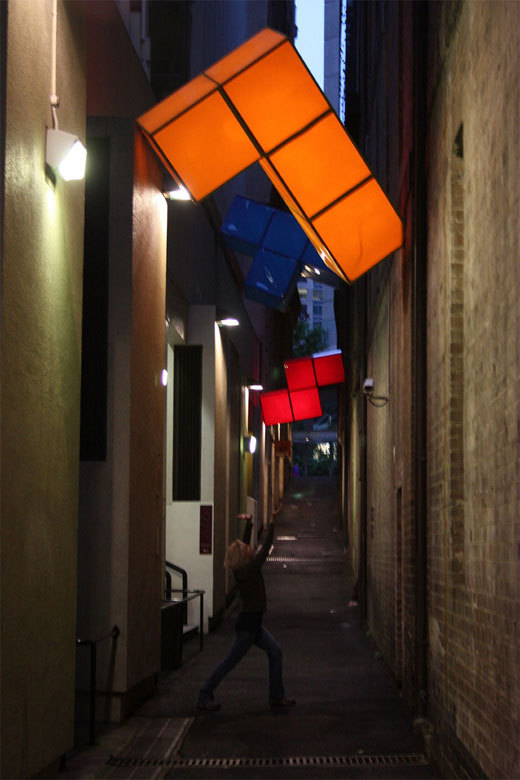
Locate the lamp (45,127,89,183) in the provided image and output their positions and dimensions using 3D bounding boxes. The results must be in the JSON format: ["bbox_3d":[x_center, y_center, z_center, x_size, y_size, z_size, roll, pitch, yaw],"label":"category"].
[{"bbox_3d":[-1.118,-1.470,4.612,0.126,0.368,0.339,1,5,4],"label":"lamp"}]

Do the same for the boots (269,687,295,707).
[{"bbox_3d":[0.198,2.847,7.292,0.233,0.150,0.148,-4,-2,1],"label":"boots"}]

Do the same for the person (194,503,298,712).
[{"bbox_3d":[-0.136,2.057,7.454,0.629,2.449,0.580,0,21,-4],"label":"person"}]
